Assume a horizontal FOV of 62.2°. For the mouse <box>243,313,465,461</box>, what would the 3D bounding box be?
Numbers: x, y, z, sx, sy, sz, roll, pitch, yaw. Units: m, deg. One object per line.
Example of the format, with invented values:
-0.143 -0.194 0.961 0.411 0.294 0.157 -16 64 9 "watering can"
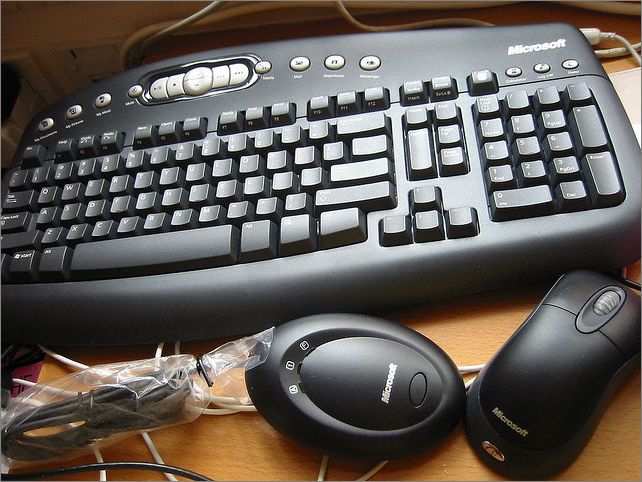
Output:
0.030 0.129 0.478 0.195 0.050 0.121 9 54 15 "mouse"
